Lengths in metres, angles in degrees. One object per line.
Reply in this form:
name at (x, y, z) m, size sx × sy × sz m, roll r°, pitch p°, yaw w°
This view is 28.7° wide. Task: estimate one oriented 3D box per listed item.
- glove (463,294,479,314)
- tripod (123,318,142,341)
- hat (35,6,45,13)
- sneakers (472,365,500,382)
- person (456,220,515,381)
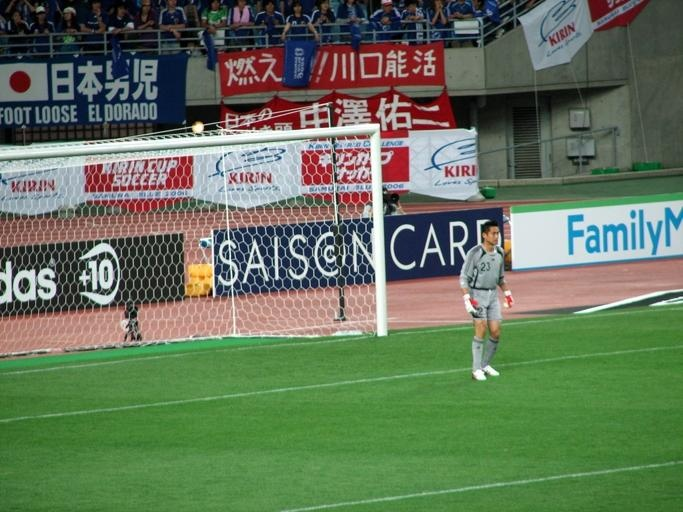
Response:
glove at (2.192, 0.883, 23.306) m, size 0.306 × 0.308 × 0.133 m, roll -33°, pitch -6°, yaw -40°
tripod at (-4.113, 1.452, 26.144) m, size 0.054 × 0.484 × 0.417 m, roll 17°, pitch 18°, yaw 42°
hat at (-9.019, -7.364, 40.021) m, size 0.257 × 0.253 × 0.424 m, roll -3°, pitch 3°, yaw -12°
sneakers at (2.511, 2.064, 23.480) m, size 0.535 × 0.256 × 0.203 m, roll -4°, pitch 9°, yaw 2°
person at (2.537, 0.782, 23.449) m, size 0.845 × 2.771 × 0.749 m, roll -1°, pitch 3°, yaw 9°
